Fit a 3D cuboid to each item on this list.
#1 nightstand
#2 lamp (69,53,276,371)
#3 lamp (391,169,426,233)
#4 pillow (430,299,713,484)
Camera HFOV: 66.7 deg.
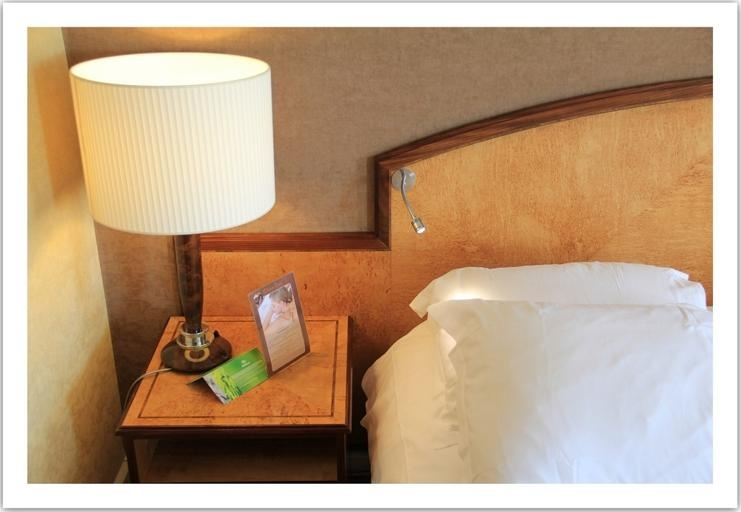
[{"bbox_3d":[-0.374,0.354,1.688,0.618,0.556,0.481,4,26,-9],"label":"nightstand"},{"bbox_3d":[-0.569,-0.088,1.722,0.537,0.851,0.509,-8,20,-25],"label":"lamp"},{"bbox_3d":[0.115,-0.165,1.738,0.102,0.216,0.127,-1,10,5],"label":"lamp"},{"bbox_3d":[0.499,0.313,1.370,0.692,0.385,0.185,-2,-8,-3],"label":"pillow"}]
